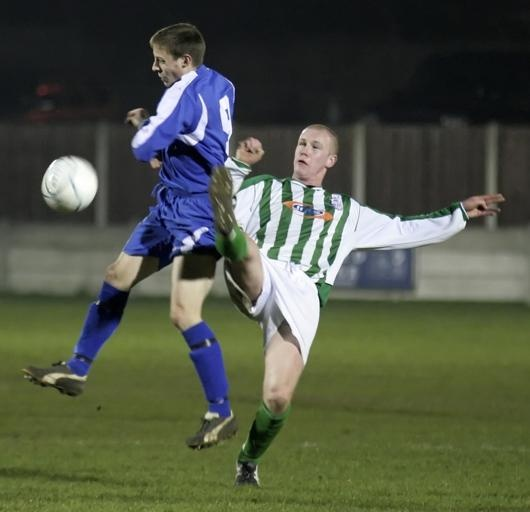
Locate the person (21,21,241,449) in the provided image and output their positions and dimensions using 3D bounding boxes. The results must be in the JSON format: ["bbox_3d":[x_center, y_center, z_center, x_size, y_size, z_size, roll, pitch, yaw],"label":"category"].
[{"bbox_3d":[-0.682,-0.149,8.527,1.247,2.948,0.614,6,5,13],"label":"person"}]

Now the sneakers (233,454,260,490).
[{"bbox_3d":[-0.107,1.488,8.436,0.094,0.254,0.110,3,-22,-8],"label":"sneakers"}]

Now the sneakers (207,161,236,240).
[{"bbox_3d":[-0.277,-0.377,8.078,0.148,0.427,0.187,-1,-3,2],"label":"sneakers"}]

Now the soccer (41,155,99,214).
[{"bbox_3d":[-1.370,-0.519,8.754,0.324,0.416,0.433,-5,6,39],"label":"soccer"}]
